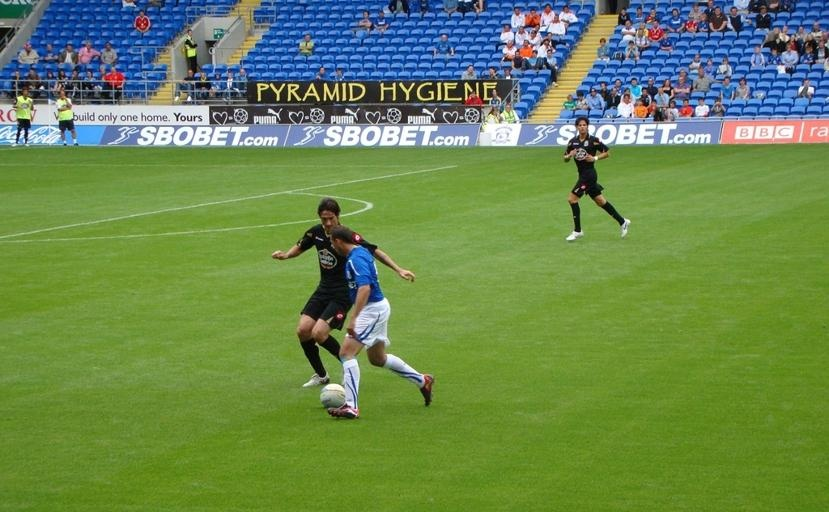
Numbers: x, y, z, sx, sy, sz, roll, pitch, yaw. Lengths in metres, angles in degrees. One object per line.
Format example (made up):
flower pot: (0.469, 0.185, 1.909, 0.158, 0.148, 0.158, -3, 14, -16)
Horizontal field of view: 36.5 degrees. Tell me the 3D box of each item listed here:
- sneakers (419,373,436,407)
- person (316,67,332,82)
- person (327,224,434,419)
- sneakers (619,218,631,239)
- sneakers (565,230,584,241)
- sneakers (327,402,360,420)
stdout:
sneakers: (0.204, 2.084, 19.652, 0.310, 0.445, 0.194, -7, 17, -2)
person: (-3.568, -7.208, 49.977, 0.568, 0.431, 1.390, -1, 4, -2)
person: (-0.640, 0.998, 19.349, 1.443, 2.912, 0.636, -2, 10, -10)
sneakers: (4.607, -0.602, 27.299, 0.271, 0.444, 0.171, -11, 28, -18)
sneakers: (3.494, -0.430, 27.039, 0.464, 0.145, 0.154, -10, 10, -21)
sneakers: (-1.049, 2.372, 19.224, 0.562, 0.201, 0.169, 6, -14, -9)
